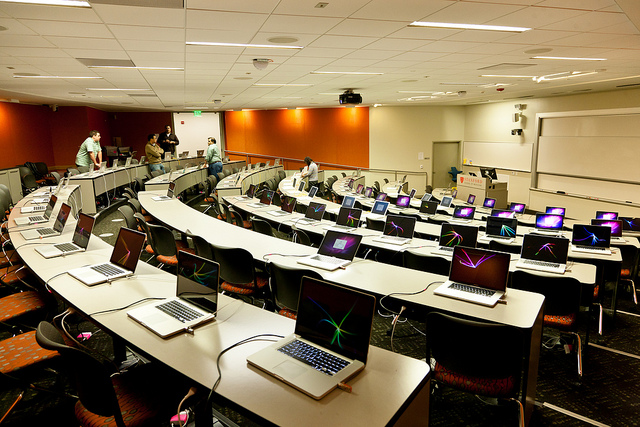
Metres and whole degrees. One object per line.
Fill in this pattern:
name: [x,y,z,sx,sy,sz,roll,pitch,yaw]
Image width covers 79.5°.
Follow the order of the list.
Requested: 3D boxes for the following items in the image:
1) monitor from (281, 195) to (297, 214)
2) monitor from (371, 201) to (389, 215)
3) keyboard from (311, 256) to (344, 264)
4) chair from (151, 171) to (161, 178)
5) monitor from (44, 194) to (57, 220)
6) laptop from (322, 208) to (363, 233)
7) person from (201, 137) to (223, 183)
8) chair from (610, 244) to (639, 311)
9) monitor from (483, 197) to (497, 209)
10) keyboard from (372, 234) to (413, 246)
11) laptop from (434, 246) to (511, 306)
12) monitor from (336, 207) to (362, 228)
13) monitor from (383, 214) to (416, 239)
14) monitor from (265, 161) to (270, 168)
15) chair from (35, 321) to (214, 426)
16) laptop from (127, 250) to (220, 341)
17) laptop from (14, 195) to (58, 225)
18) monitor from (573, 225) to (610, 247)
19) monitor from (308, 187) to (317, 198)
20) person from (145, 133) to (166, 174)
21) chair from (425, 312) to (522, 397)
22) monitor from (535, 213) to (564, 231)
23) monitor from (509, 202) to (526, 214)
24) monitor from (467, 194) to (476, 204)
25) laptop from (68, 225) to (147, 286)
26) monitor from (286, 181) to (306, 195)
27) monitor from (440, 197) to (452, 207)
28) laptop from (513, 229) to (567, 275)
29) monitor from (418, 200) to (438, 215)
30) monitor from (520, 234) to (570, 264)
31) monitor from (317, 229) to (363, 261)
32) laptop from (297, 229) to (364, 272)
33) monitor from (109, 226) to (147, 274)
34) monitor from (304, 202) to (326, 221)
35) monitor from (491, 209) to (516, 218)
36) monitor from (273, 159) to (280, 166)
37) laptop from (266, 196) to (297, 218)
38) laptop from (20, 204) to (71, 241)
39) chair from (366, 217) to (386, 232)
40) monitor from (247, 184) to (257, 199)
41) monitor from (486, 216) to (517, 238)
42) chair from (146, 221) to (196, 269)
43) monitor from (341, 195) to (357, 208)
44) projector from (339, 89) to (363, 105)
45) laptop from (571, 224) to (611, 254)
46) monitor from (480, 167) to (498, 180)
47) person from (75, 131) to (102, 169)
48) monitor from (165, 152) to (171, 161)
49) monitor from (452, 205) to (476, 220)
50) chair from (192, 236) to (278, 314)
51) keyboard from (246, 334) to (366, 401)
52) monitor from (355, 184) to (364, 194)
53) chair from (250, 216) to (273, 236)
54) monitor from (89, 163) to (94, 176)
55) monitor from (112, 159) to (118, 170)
monitor: [-0.579,-0.160,7.548,0.369,0.257,0.263,22,4,30]
monitor: [1.148,-0.107,7.142,0.265,0.210,0.254,17,47,27]
keyboard: [0.099,0.563,4.658,0.371,0.015,0.140,10,17,32]
chair: [-5.055,-1.225,11.862,0.215,0.257,0.204,14,31,18]
monitor: [-4.585,-0.094,6.529,0.345,0.222,0.250,26,-4,44]
laptop: [0.366,0.088,6.041,0.510,0.336,0.465,-6,10,-45]
person: [-3.663,-1.856,13.044,0.647,1.407,1.633,-4,15,-16]
chair: [4.475,0.883,5.615,0.448,0.903,0.355,11,18,37]
monitor: [3.894,-0.237,8.757,0.274,0.223,0.264,16,8,18]
keyboard: [1.046,0.382,5.515,0.462,0.040,0.333,9,17,31]
laptop: [1.667,0.624,4.004,0.659,0.399,0.581,7,13,35]
monitor: [0.477,0.063,6.137,0.370,0.248,0.295,14,13,22]
monitor: [1.187,0.183,5.660,0.452,0.309,0.332,10,5,30]
monitor: [-1.929,-1.825,14.246,0.191,0.176,0.269,28,21,30]
chair: [-1.549,1.325,3.140,1.509,0.841,0.551,4,15,15]
laptop: [-1.289,0.705,3.487,0.686,0.571,0.602,10,17,33]
laptop: [-4.507,-0.029,6.091,0.442,0.294,0.429,8,7,-35]
monitor: [3.940,0.324,5.503,0.433,0.289,0.249,5,6,35]
monitor: [-0.144,-0.465,8.486,0.108,0.275,0.371,-2,15,-9]
person: [-5.202,-1.888,12.094,0.454,1.161,0.730,-5,16,-21]
chair: [1.395,1.239,3.404,0.579,0.986,0.700,7,18,29]
monitor: [3.953,0.139,6.558,0.449,0.279,0.303,8,6,29]
monitor: [4.091,-0.110,7.990,0.403,0.295,0.365,10,7,32]
monitor: [3.627,-0.331,9.125,0.135,0.253,0.405,5,15,19]
laptop: [-2.341,0.441,4.184,0.585,0.434,0.646,10,12,38]
monitor: [-0.582,-0.624,9.864,0.356,0.286,0.445,4,8,-26]
monitor: [2.872,-0.251,8.631,0.250,0.329,0.035,7,-32,40]
laptop: [2.686,0.492,4.620,0.533,0.358,0.481,9,17,31]
monitor: [2.285,-0.116,8.010,0.428,0.288,0.253,17,3,39]
monitor: [2.710,0.444,4.609,0.500,0.342,0.304,6,2,30]
monitor: [0.137,0.365,4.592,0.585,0.358,0.456,7,-6,44]
laptop: [0.123,0.402,4.604,0.589,0.370,0.636,7,9,39]
monitor: [-2.267,0.447,4.574,0.493,0.363,0.408,29,28,17]
monitor: [-0.058,-0.031,6.784,0.374,0.250,0.292,18,14,32]
monitor: [3.365,0.009,7.016,0.347,0.247,0.238,4,-10,23]
monitor: [-1.685,-1.990,15.072,0.152,0.249,0.525,-1,15,-6]
laptop: [-0.713,-0.091,7.407,0.417,0.299,0.423,18,16,42]
laptop: [-3.866,0.116,5.432,0.465,0.329,0.456,6,9,-37]
chair: [0.982,0.196,6.575,0.226,0.337,0.217,16,30,36]
monitor: [-1.575,-0.518,8.894,0.182,0.280,0.343,-2,15,-10]
monitor: [2.841,0.207,5.946,0.507,0.340,0.301,7,1,22]
chair: [-2.133,0.446,5.519,0.503,0.685,0.559,17,26,36]
monitor: [0.596,-0.224,7.445,0.231,0.232,0.237,11,-7,37]
projector: [0.864,-3.108,10.375,0.456,0.337,0.459,2,16,5]
laptop: [3.921,0.352,5.512,0.519,0.382,0.419,7,5,32]
monitor: [5.552,-1.314,12.517,0.397,0.471,0.488,-21,25,-40]
person: [-6.526,-1.790,10.787,0.616,1.013,1.173,-9,17,-32]
monitor: [-5.532,-2.071,14.000,0.278,0.261,0.224,4,20,-26]
monitor: [2.817,-0.019,7.436,0.366,0.201,0.404,10,17,32]
chair: [-0.951,0.710,4.374,0.677,0.860,0.697,13,26,33]
keyboard: [-0.100,1.154,2.938,0.535,0.125,0.383,17,28,36]
monitor: [1.110,-0.671,10.667,0.205,0.204,0.397,2,15,6]
chair: [-0.920,0.224,6.349,0.251,0.420,0.325,16,26,35]
monitor: [-6.002,-1.135,10.079,0.051,0.480,0.365,-6,20,-28]
monitor: [-5.928,-1.416,11.109,0.157,0.233,0.559,-7,16,-27]
